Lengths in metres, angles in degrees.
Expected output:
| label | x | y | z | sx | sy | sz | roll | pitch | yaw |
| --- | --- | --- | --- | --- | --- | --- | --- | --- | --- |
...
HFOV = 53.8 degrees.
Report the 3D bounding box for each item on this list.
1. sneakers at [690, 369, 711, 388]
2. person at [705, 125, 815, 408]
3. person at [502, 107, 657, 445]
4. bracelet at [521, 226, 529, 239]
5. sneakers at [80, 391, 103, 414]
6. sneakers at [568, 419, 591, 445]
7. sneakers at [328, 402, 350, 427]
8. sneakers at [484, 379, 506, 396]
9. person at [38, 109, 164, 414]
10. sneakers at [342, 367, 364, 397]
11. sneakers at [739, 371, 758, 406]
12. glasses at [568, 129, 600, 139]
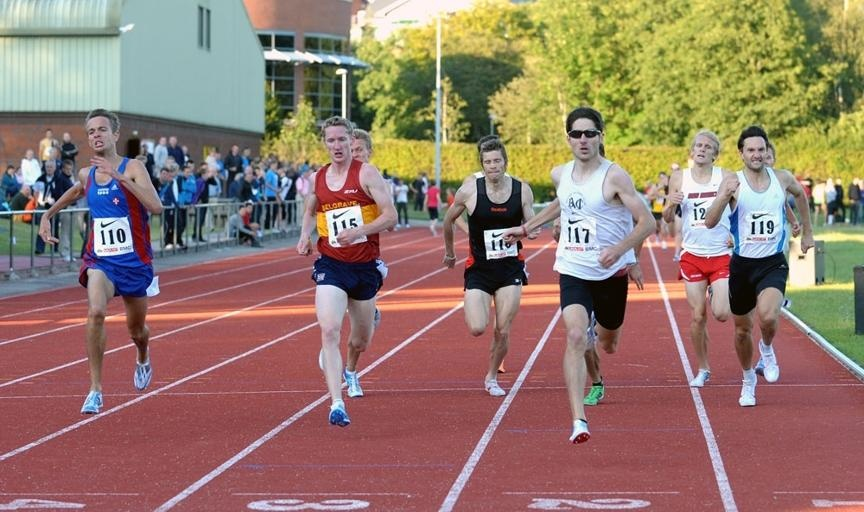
| label | x | y | z | sx | sy | sz | roll | pitch | yaw |
| --- | --- | --- | --- | --- | --- | --- | --- | --- | --- |
| sneakers | 3.092 | 1.391 | 9.782 | 0.126 | 0.145 | 0.346 | 20 | 12 | 33 |
| person | 3.523 | 0.078 | 9.122 | 0.891 | 2.930 | 1.333 | 3 | 6 | 33 |
| person | 1.514 | 0.061 | 7.995 | 1.215 | 2.902 | 0.852 | -4 | 6 | -41 |
| bracelet | 0.966 | -0.262 | 8.850 | 0.045 | 0.117 | 0.034 | -4 | -10 | -15 |
| sneakers | -3.541 | 1.504 | 8.856 | 0.211 | 0.242 | 0.274 | -2 | 6 | -21 |
| sneakers | 1.298 | 1.520 | 7.435 | 0.141 | 0.210 | 0.201 | 1 | 6 | 15 |
| sneakers | -0.874 | 1.486 | 8.027 | 0.167 | 0.238 | 0.207 | -1 | 5 | -4 |
| sneakers | 0.700 | 1.460 | 9.507 | 0.122 | 0.120 | 0.249 | -3 | 7 | -32 |
| person | -3.447 | 0.004 | 9.131 | 0.989 | 3.156 | 1.104 | -2 | 5 | -25 |
| sneakers | -0.876 | 1.415 | 9.503 | 0.142 | 0.153 | 0.408 | -7 | 49 | -17 |
| sneakers | 3.375 | 1.379 | 9.076 | 0.154 | 0.214 | 0.498 | 0 | 15 | 20 |
| glasses | 1.418 | -1.143 | 7.913 | 0.287 | 0.085 | 0.096 | -2 | 6 | -17 |
